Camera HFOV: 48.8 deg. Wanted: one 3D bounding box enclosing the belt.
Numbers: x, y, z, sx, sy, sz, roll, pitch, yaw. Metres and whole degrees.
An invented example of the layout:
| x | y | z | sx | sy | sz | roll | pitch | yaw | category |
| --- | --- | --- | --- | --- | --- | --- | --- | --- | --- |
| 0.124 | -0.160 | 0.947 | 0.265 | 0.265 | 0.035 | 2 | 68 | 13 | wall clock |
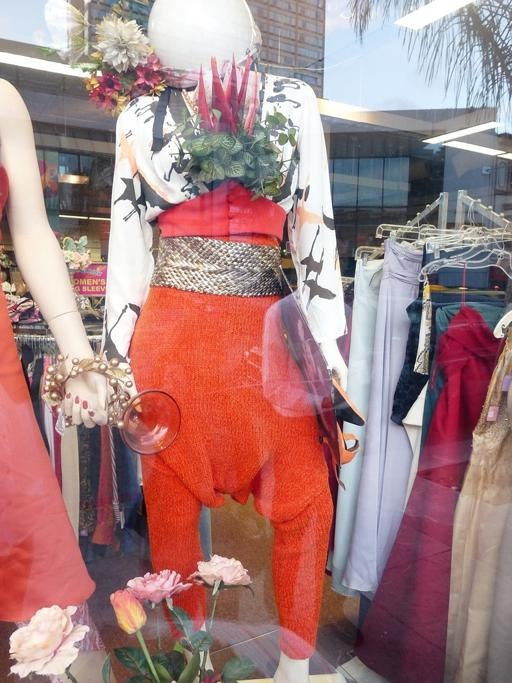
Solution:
| x | y | z | sx | sy | sz | roll | pitch | yaw | category |
| --- | --- | --- | --- | --- | --- | --- | --- | --- | --- |
| -0.049 | -0.098 | 0.754 | 0.177 | 0.081 | 0.060 | 0 | 17 | 1 | belt |
